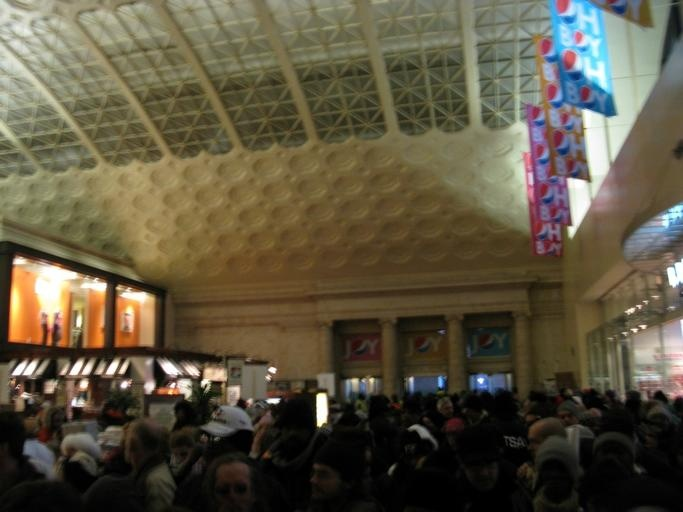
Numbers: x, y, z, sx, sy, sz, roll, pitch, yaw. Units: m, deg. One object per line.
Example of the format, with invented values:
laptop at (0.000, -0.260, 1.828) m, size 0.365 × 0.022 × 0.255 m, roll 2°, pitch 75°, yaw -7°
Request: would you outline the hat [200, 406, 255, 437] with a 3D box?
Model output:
hat at (-1.008, 1.477, 4.857) m, size 0.405 × 0.197 × 0.279 m, roll 13°, pitch -16°, yaw -37°
